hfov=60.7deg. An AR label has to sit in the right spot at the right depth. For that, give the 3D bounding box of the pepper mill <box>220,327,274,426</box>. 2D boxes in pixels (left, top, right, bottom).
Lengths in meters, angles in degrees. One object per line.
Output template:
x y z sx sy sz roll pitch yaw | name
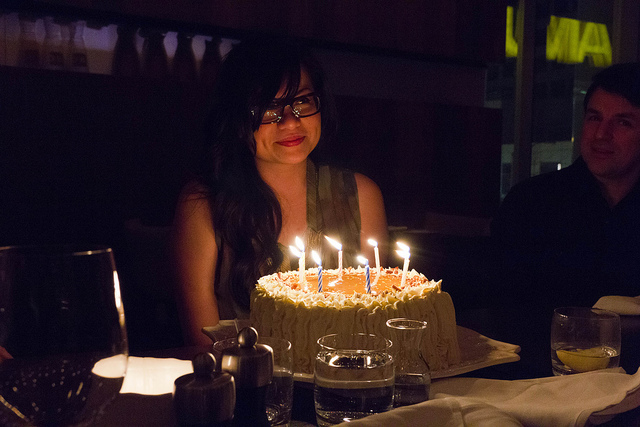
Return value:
-0.163 0.352 1.236 0.091 0.215 0.111 1 7 -19 | pepper mill

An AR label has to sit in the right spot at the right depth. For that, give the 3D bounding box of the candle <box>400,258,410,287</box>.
0.310 0.214 1.999 0.019 0.024 0.180 2 46 17 | candle

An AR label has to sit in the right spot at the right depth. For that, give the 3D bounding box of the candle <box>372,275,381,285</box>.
0.194 0.230 1.892 0.012 0.010 0.071 9 9 11 | candle

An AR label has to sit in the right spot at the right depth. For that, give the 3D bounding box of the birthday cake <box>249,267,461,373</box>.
0.137 0.366 1.899 0.664 0.251 0.611 -4 -1 14 | birthday cake
